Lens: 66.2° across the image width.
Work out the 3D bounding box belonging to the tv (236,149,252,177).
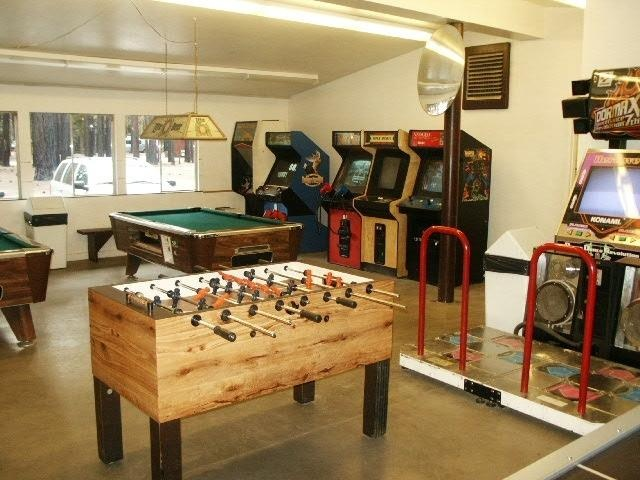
[{"bbox_3d":[-1.410,-1.440,9.413,0.058,0.463,0.500,-9,16,-33],"label":"tv"}]

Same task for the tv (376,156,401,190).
[{"bbox_3d":[1.101,-1.050,7.728,0.295,0.481,0.512,-8,16,-30],"label":"tv"}]

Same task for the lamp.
[{"bbox_3d":[-2.069,-2.407,7.221,2.049,1.961,0.868,8,9,44],"label":"lamp"}]

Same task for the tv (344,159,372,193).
[{"bbox_3d":[0.631,-1.077,8.233,0.427,0.525,0.599,3,13,8],"label":"tv"}]

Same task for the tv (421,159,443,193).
[{"bbox_3d":[1.702,-0.957,7.382,0.136,0.417,0.503,7,-1,-44],"label":"tv"}]

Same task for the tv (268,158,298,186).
[{"bbox_3d":[-0.673,-1.224,8.943,0.467,0.447,0.912,-5,14,-24],"label":"tv"}]
